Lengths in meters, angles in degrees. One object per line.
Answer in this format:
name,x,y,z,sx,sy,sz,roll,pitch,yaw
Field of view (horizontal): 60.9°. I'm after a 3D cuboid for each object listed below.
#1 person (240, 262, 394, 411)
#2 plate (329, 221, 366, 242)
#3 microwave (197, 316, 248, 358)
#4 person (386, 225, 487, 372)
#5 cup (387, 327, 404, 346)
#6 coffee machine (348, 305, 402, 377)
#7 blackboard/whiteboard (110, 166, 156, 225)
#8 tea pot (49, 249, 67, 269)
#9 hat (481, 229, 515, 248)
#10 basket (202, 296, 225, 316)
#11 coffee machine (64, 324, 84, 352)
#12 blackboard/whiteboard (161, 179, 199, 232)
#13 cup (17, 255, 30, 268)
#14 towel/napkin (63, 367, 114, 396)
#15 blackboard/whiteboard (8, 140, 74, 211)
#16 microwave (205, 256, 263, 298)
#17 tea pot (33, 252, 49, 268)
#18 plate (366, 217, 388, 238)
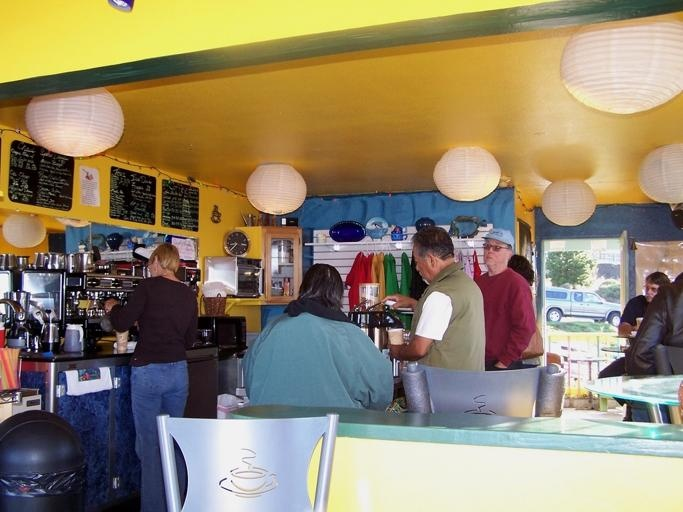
person,-0.115,0.390,2.868,0.713,0.711,0.376,1,-3,-12
plate,0.073,-0.329,7.835,0.480,0.294,0.147,1,-2,-1
microwave,-1.225,0.776,5.874,0.379,0.482,0.557,-5,-7,36
person,0.484,0.215,3.190,0.697,0.772,0.374,-2,-3,42
cup,0.324,0.496,3.569,0.091,0.090,0.088,-1,0,0
coffee machine,0.265,0.525,3.907,0.433,0.579,0.343,-2,0,-10
blackboard/whiteboard,-2.198,-0.629,5.999,0.029,0.485,0.649,-2,-5,23
tea pot,-2.274,0.040,4.619,0.136,0.131,0.202,2,-3,-26
hat,1.176,-0.143,4.246,0.130,0.067,0.185,2,-12,41
basket,-1.399,0.541,6.340,0.212,0.246,0.223,2,-1,13
coffee machine,-2.058,0.620,4.437,0.136,0.198,0.211,2,-3,-25
blackboard/whiteboard,-1.890,-0.583,6.664,0.032,0.755,0.588,-9,-11,28
cup,-2.556,0.046,4.624,0.115,0.093,0.097,5,-7,-36
towel/napkin,-1.816,0.886,4.157,0.072,0.187,0.364,-1,-3,29
blackboard/whiteboard,-2.573,-0.681,4.881,0.010,0.448,0.629,-1,-2,24
microwave,-1.335,0.230,7.136,0.496,0.494,0.725,-2,-5,17
tea pot,-2.394,0.034,4.603,0.100,0.119,0.180,2,-3,-30
plate,0.446,-0.351,7.709,0.276,0.306,0.265,5,-9,-12
